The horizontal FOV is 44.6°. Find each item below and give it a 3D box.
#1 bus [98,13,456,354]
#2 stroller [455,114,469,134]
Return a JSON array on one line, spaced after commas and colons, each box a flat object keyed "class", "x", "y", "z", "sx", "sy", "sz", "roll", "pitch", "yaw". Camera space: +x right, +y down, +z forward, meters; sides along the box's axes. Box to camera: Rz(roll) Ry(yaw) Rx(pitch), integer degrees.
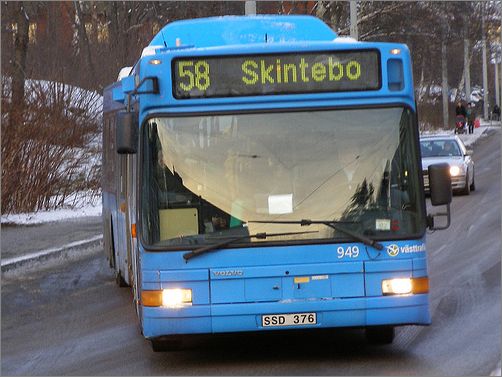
[{"class": "bus", "x": 0.257, "y": -0.217, "z": 7.967, "sx": 3.800, "sy": 4.388, "sz": 3.148, "roll": -4, "pitch": 6, "yaw": -10}, {"class": "stroller", "x": 15.756, "y": -4.775, "z": 46.279, "sx": 0.737, "sy": 1.340, "sz": 2.065, "roll": -1, "pitch": 0, "yaw": 2}]
